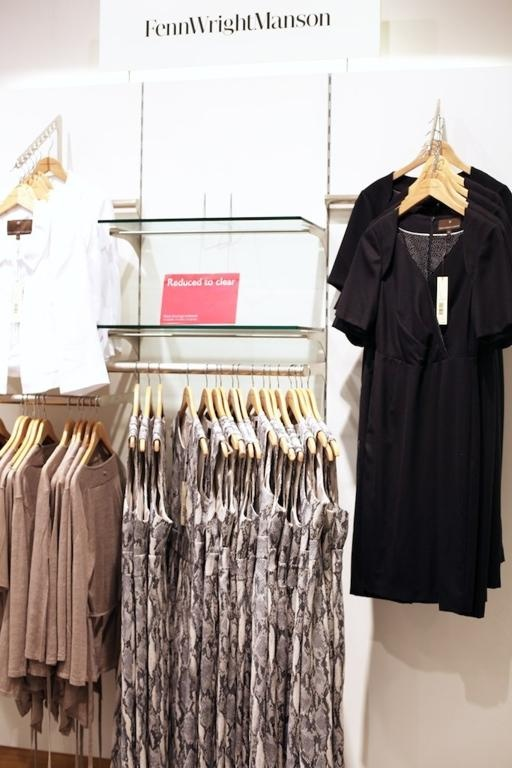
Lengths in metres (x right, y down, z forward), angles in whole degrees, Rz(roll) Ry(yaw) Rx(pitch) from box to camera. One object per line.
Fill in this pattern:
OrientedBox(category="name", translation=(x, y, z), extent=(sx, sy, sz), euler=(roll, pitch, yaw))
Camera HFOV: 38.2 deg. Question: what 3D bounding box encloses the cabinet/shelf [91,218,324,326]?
OrientedBox(category="cabinet/shelf", translation=(-0.131, -0.322, 2.232), extent=(0.671, 0.363, 0.340), euler=(-1, -3, 10))
